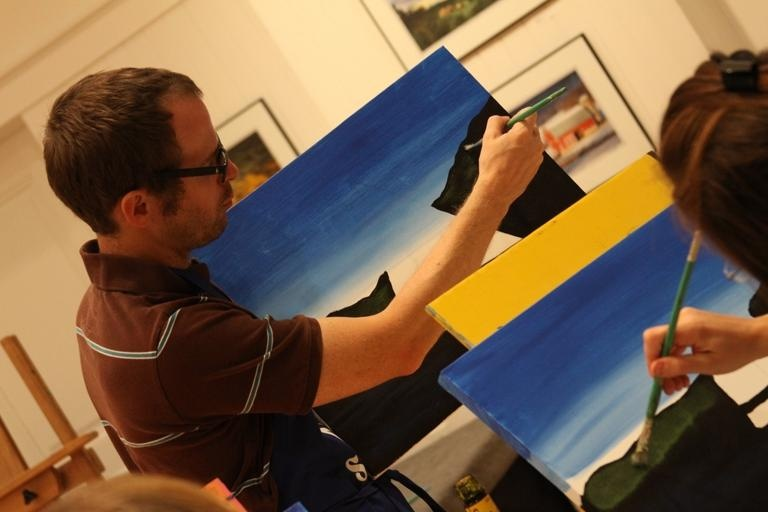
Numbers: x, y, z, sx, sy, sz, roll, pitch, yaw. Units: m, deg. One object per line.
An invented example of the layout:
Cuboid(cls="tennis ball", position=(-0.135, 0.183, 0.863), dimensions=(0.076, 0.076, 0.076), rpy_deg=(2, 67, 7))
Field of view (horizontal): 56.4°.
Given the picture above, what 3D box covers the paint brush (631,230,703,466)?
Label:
Cuboid(cls="paint brush", position=(0.848, 0.306, 2.140), dimensions=(0.056, 0.694, 0.054), rpy_deg=(14, -4, -39))
